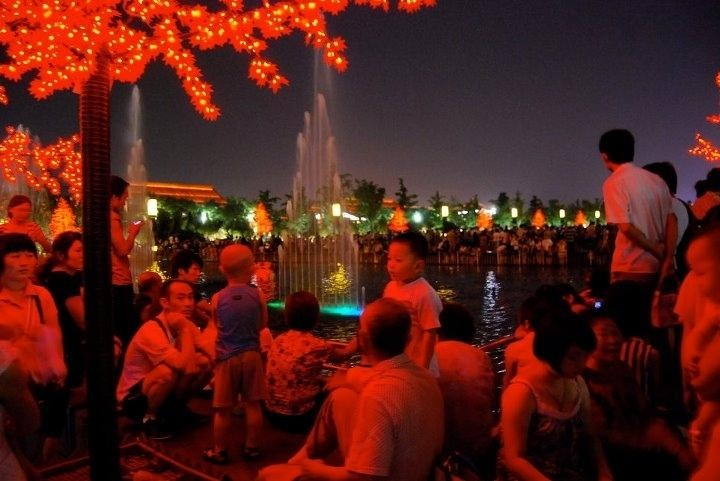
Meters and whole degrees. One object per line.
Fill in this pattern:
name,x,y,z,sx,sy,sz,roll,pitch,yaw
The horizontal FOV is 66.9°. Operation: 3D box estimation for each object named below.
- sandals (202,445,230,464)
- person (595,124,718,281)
sandals,-1.308,1.917,4.955,0.222,0.089,0.111,10,-3,28
person,2.681,-0.337,5.221,0.643,1.461,0.485,-2,-2,23
